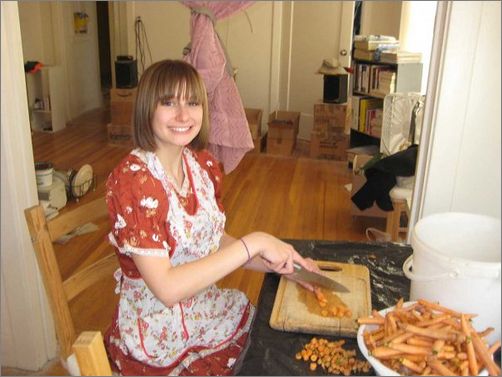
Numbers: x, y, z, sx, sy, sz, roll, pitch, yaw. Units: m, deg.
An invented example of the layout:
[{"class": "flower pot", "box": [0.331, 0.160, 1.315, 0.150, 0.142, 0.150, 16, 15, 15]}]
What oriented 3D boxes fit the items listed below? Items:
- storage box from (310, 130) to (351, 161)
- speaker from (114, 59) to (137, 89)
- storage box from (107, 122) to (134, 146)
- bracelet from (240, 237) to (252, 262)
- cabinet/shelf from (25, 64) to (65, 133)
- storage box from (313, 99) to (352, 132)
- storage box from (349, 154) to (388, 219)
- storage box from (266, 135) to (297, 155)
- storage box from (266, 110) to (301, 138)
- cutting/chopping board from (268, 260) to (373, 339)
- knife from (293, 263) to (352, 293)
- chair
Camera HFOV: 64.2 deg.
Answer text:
[{"class": "storage box", "box": [1.132, -0.634, 5.930, 0.336, 0.473, 0.661, 8, 4, 4]}, {"class": "speaker", "box": [-1.869, -1.699, 6.027, 0.350, 0.592, 0.387, -1, 10, -7]}, {"class": "storage box", "box": [-2.059, -0.783, 6.120, 0.265, 0.322, 0.494, -8, 0, 22]}, {"class": "bracelet", "box": [-0.013, 0.189, 1.246, 0.015, 0.060, 0.054, -23, -19, 2]}, {"class": "cabinet/shelf", "box": [-3.307, -1.493, 6.506, 0.493, 0.970, 0.529, -4, 18, -5]}, {"class": "storage box", "box": [1.130, -1.076, 5.695, 0.554, 0.405, 0.576, 12, 29, 26]}, {"class": "storage box", "box": [1.112, -0.003, 3.764, 0.307, 0.295, 0.667, 0, 45, 6]}, {"class": "storage box", "box": [0.415, -0.615, 5.761, 0.278, 0.204, 0.302, 3, 13, 9]}, {"class": "storage box", "box": [0.483, -0.970, 5.890, 0.397, 0.311, 0.455, 4, 28, 11]}, {"class": "cutting/chopping board", "box": [0.256, 0.386, 1.414, 0.322, 0.065, 0.390, 3, 19, 12]}, {"class": "knife", "box": [0.256, 0.329, 1.457, 0.257, 0.056, 0.030, 19, 6, 12]}, {"class": "chair", "box": [-0.641, 0.303, 1.416, 0.204, 0.513, 0.440, 0, 17, 3]}]
